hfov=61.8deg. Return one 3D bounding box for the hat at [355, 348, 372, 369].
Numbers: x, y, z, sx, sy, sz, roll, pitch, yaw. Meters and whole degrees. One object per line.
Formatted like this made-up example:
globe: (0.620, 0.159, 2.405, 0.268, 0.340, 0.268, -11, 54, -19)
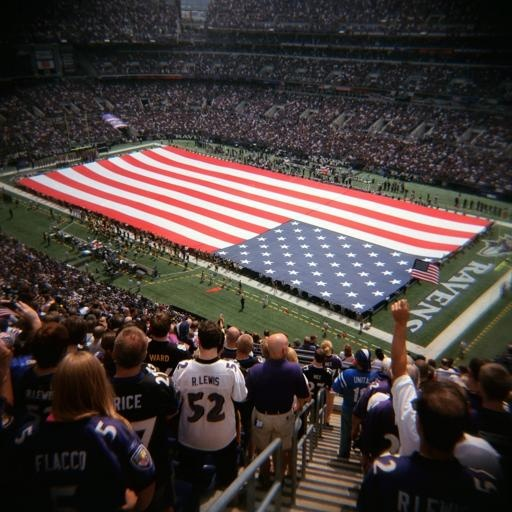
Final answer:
hat: (1.936, 1.840, 7.714, 0.282, 0.393, 0.364, 5, 4, 13)
